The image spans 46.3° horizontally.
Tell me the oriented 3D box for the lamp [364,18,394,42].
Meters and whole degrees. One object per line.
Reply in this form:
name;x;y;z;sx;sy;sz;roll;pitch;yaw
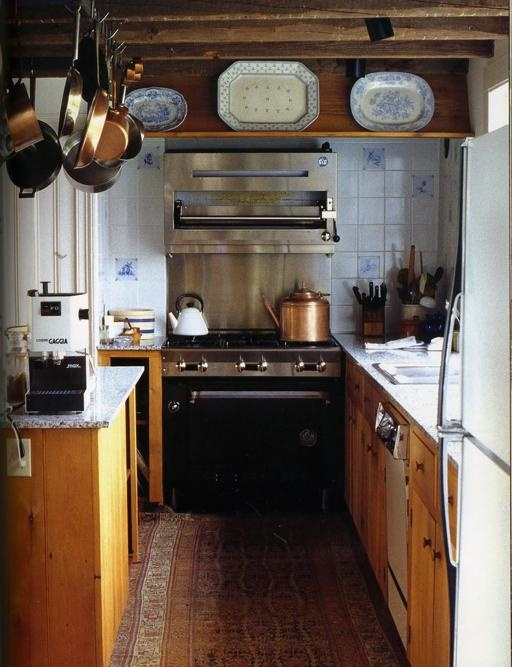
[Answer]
lamp;0.470;-1.156;2.288;0.083;0.109;0.088;-13;10;-2

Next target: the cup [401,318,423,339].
cup;0.906;-0.032;3.500;0.089;0.104;0.099;0;0;15

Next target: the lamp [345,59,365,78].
lamp;0.513;-1.349;3.116;0.082;0.109;0.091;2;-4;-12

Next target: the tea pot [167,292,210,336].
tea pot;-0.418;-0.114;3.641;0.231;0.251;0.344;-1;6;-7

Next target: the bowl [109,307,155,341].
bowl;-0.711;-0.055;3.517;0.170;0.131;0.190;0;1;-4

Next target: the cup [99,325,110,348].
cup;-0.840;0.008;3.319;0.041;0.096;0.089;0;6;4

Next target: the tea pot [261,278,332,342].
tea pot;0.269;-0.136;3.556;0.383;0.384;0.264;2;4;37

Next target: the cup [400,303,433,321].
cup;0.919;-0.125;3.503;0.099;0.090;0.107;0;3;0

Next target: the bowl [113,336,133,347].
bowl;-0.738;0.047;3.305;0.096;0.053;0.145;-2;6;-13

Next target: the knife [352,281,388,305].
knife;0.707;-0.253;3.670;0.127;0.157;0.017;5;10;22

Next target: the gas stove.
gas stove;-0.018;0.128;3.434;0.993;0.203;0.498;0;6;-1

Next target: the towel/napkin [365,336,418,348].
towel/napkin;0.727;0.059;3.201;0.152;0.062;0.129;2;-3;-14

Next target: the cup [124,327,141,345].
cup;-0.701;0.015;3.392;0.093;0.113;0.084;2;1;2

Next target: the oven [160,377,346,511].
oven;-0.009;0.410;3.572;0.896;0.785;0.665;0;-3;0
